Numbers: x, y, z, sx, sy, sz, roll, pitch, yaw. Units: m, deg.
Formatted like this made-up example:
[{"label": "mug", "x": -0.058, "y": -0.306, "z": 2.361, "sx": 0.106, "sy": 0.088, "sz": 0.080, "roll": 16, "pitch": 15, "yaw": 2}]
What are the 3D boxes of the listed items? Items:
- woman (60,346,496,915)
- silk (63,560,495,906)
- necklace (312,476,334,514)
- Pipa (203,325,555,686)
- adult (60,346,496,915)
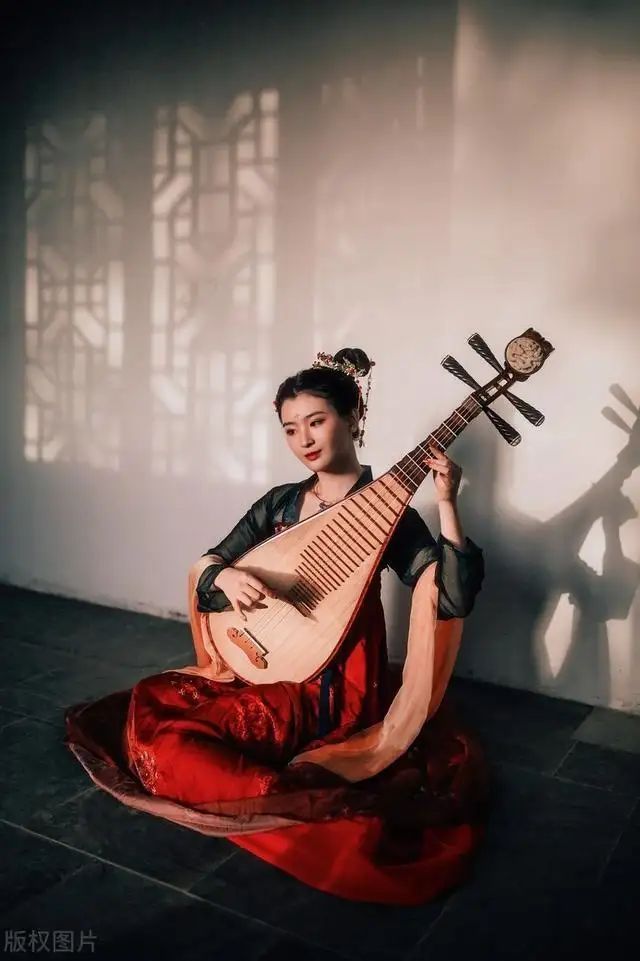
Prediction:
[{"label": "woman", "x": -0.081, "y": 0.217, "z": 1.997, "sx": 1.040, "sy": 0.903, "sz": 0.753, "roll": 13, "pitch": 19, "yaw": 40}, {"label": "silk", "x": -0.121, "y": 0.441, "z": 1.902, "sx": 0.894, "sy": 0.498, "sz": 0.539, "roll": 3, "pitch": 12, "yaw": 10}, {"label": "necklace", "x": -0.002, "y": 0.035, "z": 2.162, "sx": 0.050, "sy": 0.076, "sz": 0.017, "roll": -1, "pitch": -1, "yaw": 9}, {"label": "Pipa", "x": 0.232, "y": 0.048, "z": 2.138, "sx": 0.400, "sy": 1.112, "sz": 0.140, "roll": 45, "pitch": 8, "yaw": 13}, {"label": "adult", "x": -0.062, "y": 0.237, "z": 1.975, "sx": 0.859, "sy": 0.867, "sz": 1.041, "roll": -12, "pitch": 19, "yaw": -36}]
